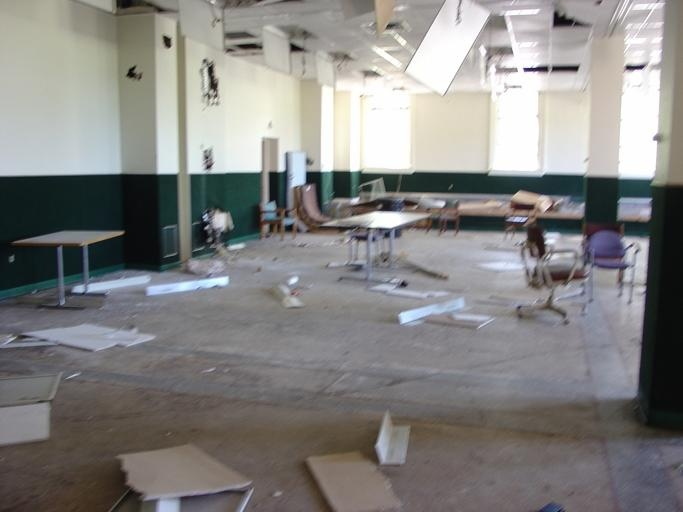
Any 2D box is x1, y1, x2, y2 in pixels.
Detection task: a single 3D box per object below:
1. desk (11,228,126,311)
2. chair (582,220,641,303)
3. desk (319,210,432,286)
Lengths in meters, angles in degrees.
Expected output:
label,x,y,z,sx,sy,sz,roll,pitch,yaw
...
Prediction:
label,x,y,z,sx,sy,sz,roll,pitch,yaw
desk,-4.118,0.122,7.404,1.273,0.951,1.586,0,11,1
chair,3.883,0.125,7.090,0.798,1.014,0.843,-3,10,-8
desk,0.641,-0.139,9.416,0.809,0.944,1.756,-19,1,14
